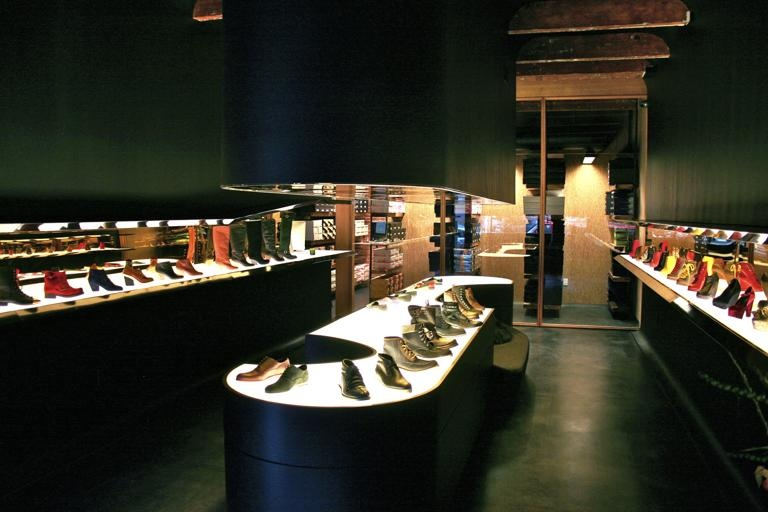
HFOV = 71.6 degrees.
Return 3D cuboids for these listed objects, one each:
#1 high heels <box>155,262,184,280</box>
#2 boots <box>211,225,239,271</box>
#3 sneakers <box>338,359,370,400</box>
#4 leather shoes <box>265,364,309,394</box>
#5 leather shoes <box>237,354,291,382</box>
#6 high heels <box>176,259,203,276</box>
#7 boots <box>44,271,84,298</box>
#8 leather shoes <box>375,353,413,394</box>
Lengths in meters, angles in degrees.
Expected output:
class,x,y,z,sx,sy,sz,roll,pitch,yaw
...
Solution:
class,x,y,z,sx,sy,sz,roll,pitch,yaw
high heels,-2.234,0.147,5.496,0.387,0.170,0.122,9,4,14
boots,-1.858,-0.111,6.223,0.222,0.477,0.292,-4,12,-24
sneakers,-0.211,0.818,3.559,0.168,0.183,0.294,-4,12,-23
leather shoes,-0.637,0.825,3.637,0.115,0.121,0.335,0,0,34
leather shoes,-0.803,0.775,3.754,0.420,0.141,0.143,0,-1,-30
high heels,-2.138,0.115,5.727,0.370,0.138,0.121,14,8,11
boots,-2.707,0.227,4.492,0.284,0.206,0.215,-4,12,-23
leather shoes,0.045,0.793,3.670,0.129,0.117,0.341,-5,9,-35
